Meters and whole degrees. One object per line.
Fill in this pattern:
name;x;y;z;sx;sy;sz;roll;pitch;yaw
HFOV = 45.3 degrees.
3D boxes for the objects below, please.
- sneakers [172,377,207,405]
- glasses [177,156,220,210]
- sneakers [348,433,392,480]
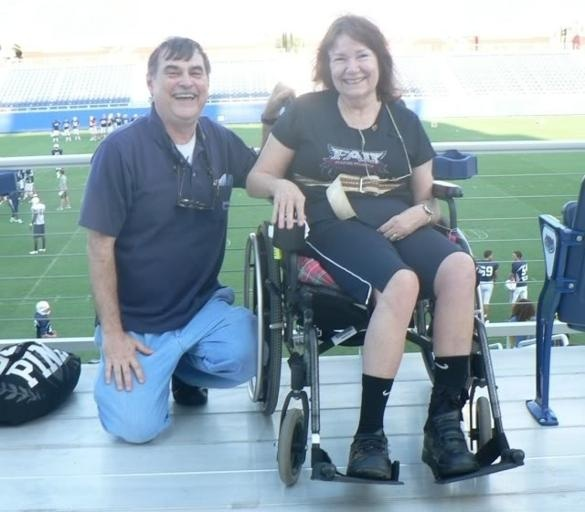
sneakers;-0.424;0.551;2.851;0.129;0.111;0.116;0;6;-15
glasses;-0.339;-0.271;2.563;0.175;0.164;0.053;-6;4;-31
sneakers;0.227;0.603;2.114;0.124;0.097;0.135;-1;18;4
